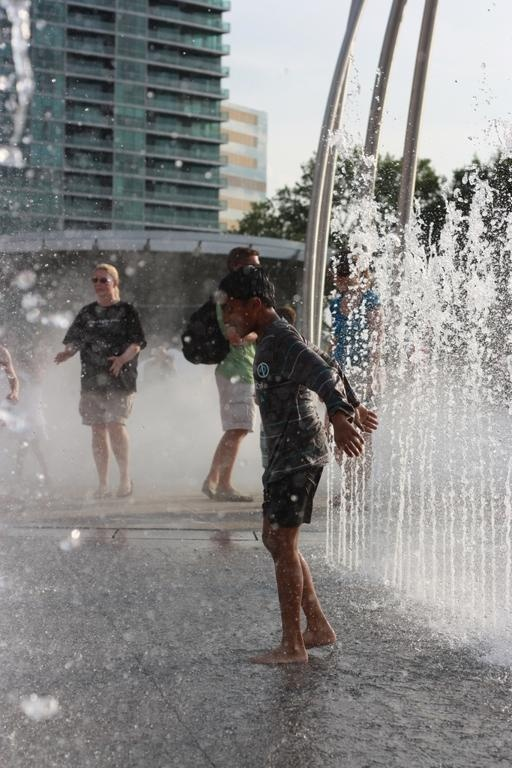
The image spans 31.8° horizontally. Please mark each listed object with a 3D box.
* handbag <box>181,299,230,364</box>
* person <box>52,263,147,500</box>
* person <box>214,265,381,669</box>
[{"bbox_3d":[-0.277,-0.278,4.949,0.264,0.348,0.105,0,28,-17],"label":"handbag"},{"bbox_3d":[-0.951,-0.022,5.487,0.533,1.436,0.328,1,2,-7],"label":"person"},{"bbox_3d":[0.157,0.229,2.844,0.443,1.219,0.609,0,2,-37],"label":"person"}]
